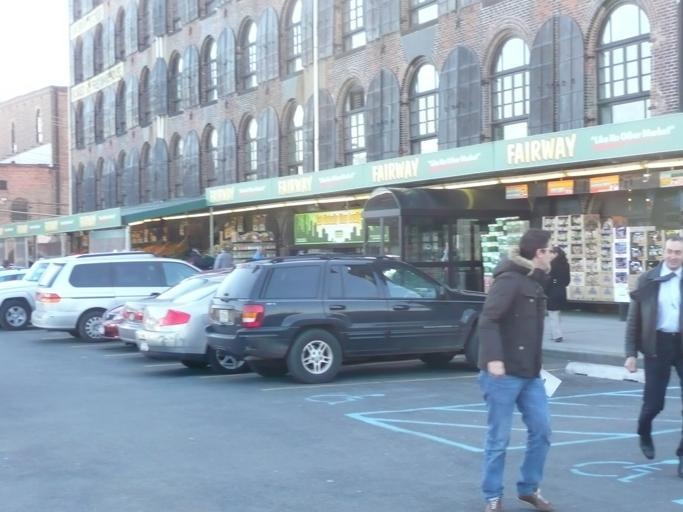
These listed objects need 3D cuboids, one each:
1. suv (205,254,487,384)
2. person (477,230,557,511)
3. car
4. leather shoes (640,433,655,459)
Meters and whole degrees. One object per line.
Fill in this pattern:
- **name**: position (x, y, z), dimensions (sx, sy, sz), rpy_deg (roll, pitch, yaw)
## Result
- **suv**: position (0.198, 0.886, 14.286), dimensions (4.596, 1.544, 2.004), rpy_deg (-4, 2, -26)
- **person**: position (1.612, 1.071, 7.920), dimensions (0.962, 2.658, 0.408), rpy_deg (-3, 0, -21)
- **car**: position (-2.945, 0.995, 16.699), dimensions (3.159, 0.959, 1.394), rpy_deg (-9, 7, -36)
- **leather shoes**: position (3.277, 2.040, 9.118), dimensions (0.105, 0.124, 0.309), rpy_deg (-8, 41, 7)
